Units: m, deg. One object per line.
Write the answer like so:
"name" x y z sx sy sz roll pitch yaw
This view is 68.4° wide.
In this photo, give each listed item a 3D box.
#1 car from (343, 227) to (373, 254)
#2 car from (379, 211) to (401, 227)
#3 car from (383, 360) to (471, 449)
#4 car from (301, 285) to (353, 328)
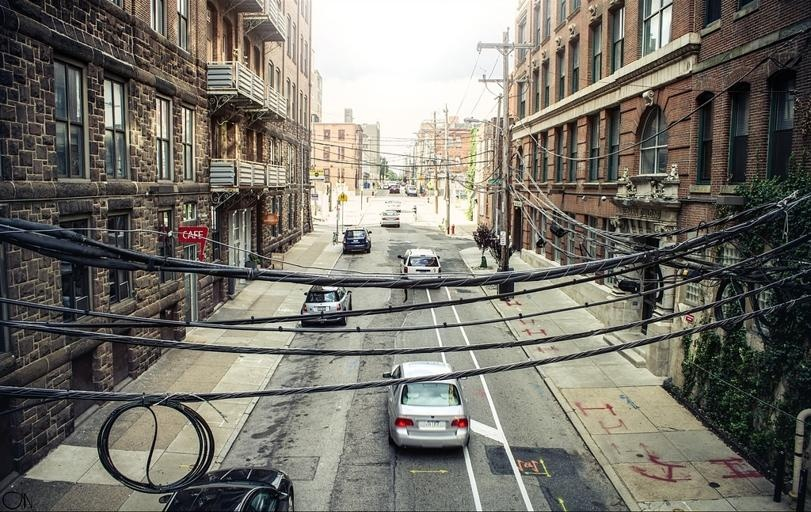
"car" -3.824 -1.099 46.897 1.778 1.785 2.254 8 15 26
"car" -1.746 -4.001 66.748 2.021 1.720 1.670 -2 14 -11
"car" 0.570 4.716 18.076 2.201 2.022 2.349 -2 14 -11
"car" -3.743 2.376 26.156 1.949 1.579 4.050 1 4 1
